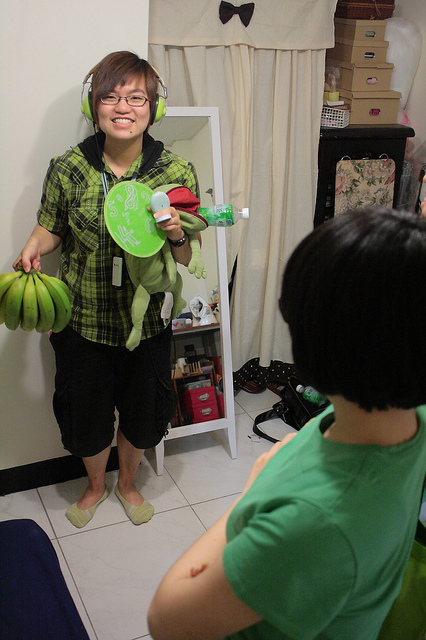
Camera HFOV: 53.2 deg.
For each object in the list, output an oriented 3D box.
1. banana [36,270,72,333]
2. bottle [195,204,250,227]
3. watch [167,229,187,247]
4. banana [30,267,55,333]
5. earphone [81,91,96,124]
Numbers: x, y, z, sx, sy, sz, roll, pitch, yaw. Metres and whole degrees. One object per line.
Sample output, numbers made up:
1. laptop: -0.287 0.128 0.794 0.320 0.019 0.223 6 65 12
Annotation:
1. banana: -0.596 -0.071 1.674 0.053 0.203 0.151 -14 15 4
2. bottle: 0.045 -0.425 1.741 0.200 0.105 0.248 2 25 7
3. watch: -0.133 -0.310 1.644 0.084 0.066 0.049 -15 27 -28
4. banana: -0.648 -0.069 1.636 0.049 0.205 0.145 -7 7 -13
5. earphone: -0.492 -0.828 1.656 0.047 0.110 0.063 -7 24 -14
